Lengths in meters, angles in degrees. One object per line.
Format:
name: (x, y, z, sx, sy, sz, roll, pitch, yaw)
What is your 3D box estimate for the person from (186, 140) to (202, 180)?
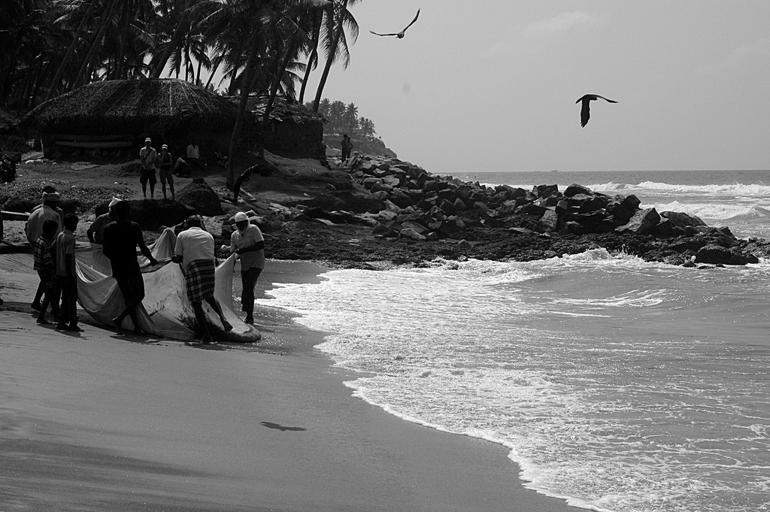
person: (-7.613, -3.945, 34.305, 0.627, 1.216, 1.902, 1, 11, -13)

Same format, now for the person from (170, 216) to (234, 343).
person: (-3.066, 0.376, 14.419, 0.812, 2.097, 0.570, -7, 15, -42)

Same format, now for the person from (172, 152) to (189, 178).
person: (-7.919, -3.471, 33.118, 0.658, 0.994, 0.373, -22, 23, -28)

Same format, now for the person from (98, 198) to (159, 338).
person: (-4.180, 0.182, 14.004, 0.756, 2.235, 0.477, 1, 12, -14)
